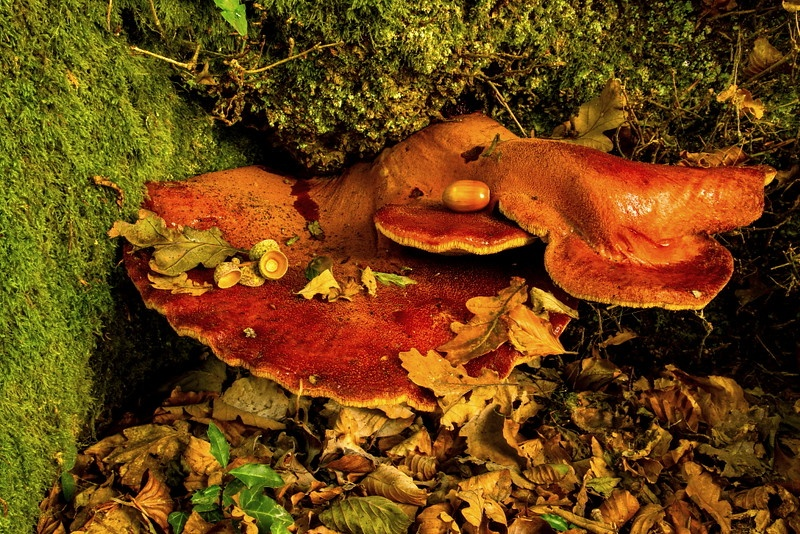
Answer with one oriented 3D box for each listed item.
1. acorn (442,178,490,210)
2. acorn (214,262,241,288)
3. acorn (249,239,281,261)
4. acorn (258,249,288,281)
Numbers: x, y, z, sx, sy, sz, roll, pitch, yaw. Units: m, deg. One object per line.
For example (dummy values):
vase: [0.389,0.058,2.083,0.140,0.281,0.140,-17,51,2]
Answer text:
acorn: [0.464,-0.500,6.173,0.283,0.142,0.190,0,45,3]
acorn: [-1.178,0.062,6.086,0.174,0.180,0.125,-24,83,-47]
acorn: [-0.944,-0.125,6.166,0.144,0.055,0.176,-5,24,27]
acorn: [-0.897,-0.013,6.257,0.203,0.163,0.202,-41,109,-12]
